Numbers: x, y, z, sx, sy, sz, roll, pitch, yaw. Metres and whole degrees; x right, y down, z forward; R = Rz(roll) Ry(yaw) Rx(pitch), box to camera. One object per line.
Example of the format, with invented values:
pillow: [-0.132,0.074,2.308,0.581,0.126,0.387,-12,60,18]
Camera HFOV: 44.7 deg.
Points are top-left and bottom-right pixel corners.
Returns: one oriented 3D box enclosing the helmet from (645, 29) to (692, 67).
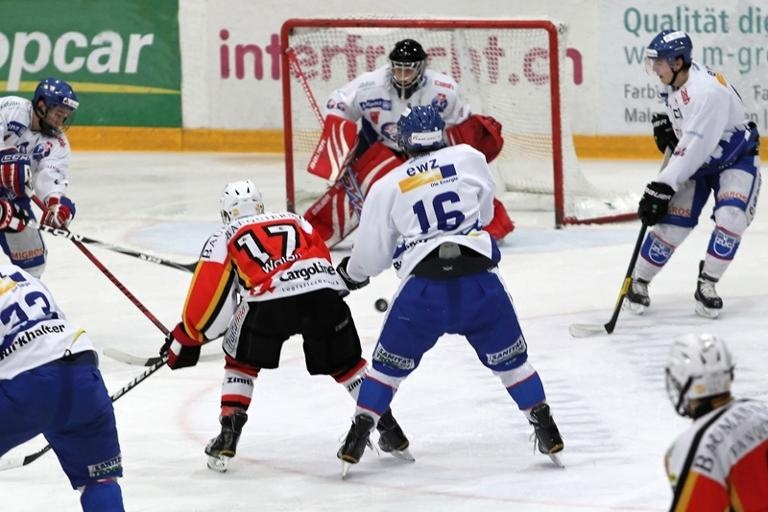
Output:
helmet: [1.769,-1.271,5.757,0.269,0.203,0.197,3,9,12]

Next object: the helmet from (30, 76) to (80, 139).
helmet: [-2.140,-0.955,6.062,0.254,0.372,0.288,-9,13,-35]

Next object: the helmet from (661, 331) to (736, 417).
helmet: [1.022,0.407,3.240,0.236,0.269,0.291,-3,4,-8]

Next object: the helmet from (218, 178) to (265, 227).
helmet: [-0.709,-0.260,4.565,0.196,0.209,0.225,-6,17,-9]

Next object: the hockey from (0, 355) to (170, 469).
hockey: [-1.304,0.688,4.026,0.997,0.128,0.077,-35,22,-18]

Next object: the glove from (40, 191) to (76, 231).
glove: [-2.164,-0.290,6.127,0.238,0.211,0.100,-2,-11,-40]

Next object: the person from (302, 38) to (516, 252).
person: [0.189,-0.759,6.186,1.873,1.497,1.019,-2,36,-1]

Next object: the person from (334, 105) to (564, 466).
person: [0.279,0.210,4.319,0.999,1.408,0.445,-1,11,-1]

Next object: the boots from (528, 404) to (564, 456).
boots: [0.749,0.807,4.310,0.110,0.300,0.150,-20,-20,3]

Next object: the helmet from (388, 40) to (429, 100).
helmet: [0.158,-1.219,6.151,0.234,0.369,0.292,-1,11,1]

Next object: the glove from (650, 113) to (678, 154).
glove: [1.838,-0.797,6.025,0.101,0.257,0.156,-17,0,-31]

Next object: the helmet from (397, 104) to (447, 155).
helmet: [0.162,-0.598,4.403,0.210,0.248,0.237,-4,22,-3]
